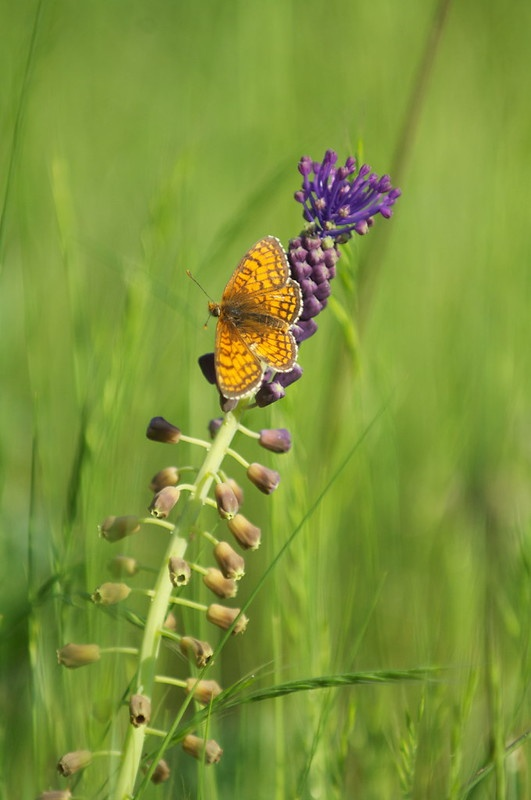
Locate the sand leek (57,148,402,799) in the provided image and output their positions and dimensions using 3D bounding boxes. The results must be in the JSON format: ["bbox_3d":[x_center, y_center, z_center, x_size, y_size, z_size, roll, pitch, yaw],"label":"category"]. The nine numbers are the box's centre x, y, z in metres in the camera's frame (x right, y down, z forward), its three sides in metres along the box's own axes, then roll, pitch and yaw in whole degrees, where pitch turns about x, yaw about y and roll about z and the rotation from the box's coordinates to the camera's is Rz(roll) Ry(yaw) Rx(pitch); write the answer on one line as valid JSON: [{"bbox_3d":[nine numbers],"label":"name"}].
[{"bbox_3d":[-0.074,0.130,2.810,0.956,1.707,0.625,-15,-24,40],"label":"sand leek"}]

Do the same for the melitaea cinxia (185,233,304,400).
[{"bbox_3d":[-0.046,-0.208,2.815,0.218,0.139,0.491,8,-26,-9],"label":"melitaea cinxia"}]
